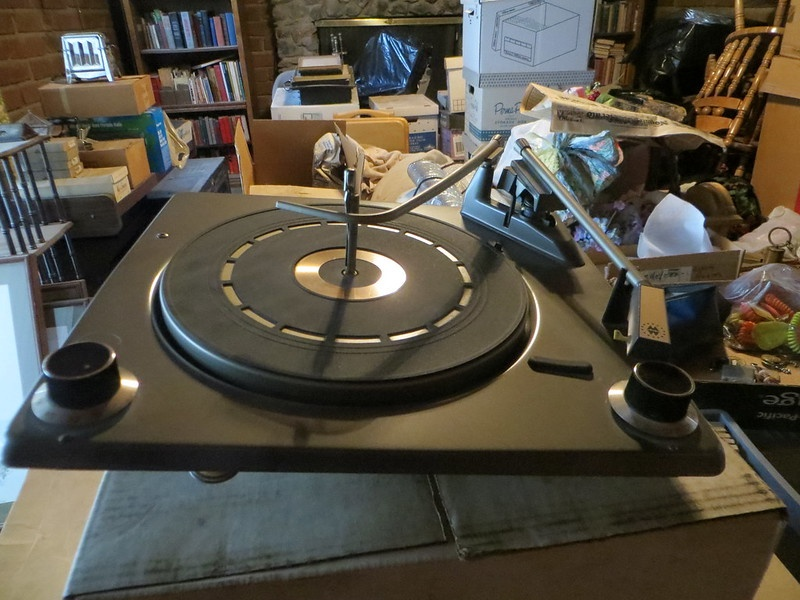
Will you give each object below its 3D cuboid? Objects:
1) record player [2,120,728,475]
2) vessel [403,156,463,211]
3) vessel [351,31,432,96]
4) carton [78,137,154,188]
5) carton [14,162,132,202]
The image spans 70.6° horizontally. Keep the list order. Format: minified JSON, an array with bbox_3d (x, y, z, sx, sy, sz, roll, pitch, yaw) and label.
[{"bbox_3d":[-0.033,-0.030,0.807,0.839,0.301,0.493,-1,28,0],"label":"record player"},{"bbox_3d":[0.076,-0.261,1.312,0.127,0.072,0.167,-13,50,-26],"label":"vessel"},{"bbox_3d":[-0.048,-1.694,4.106,0.526,0.433,0.177,9,12,9],"label":"vessel"},{"bbox_3d":[-1.120,-0.560,2.212,0.205,0.136,0.209,1,27,-4],"label":"carton"},{"bbox_3d":[-1.131,-0.400,1.939,0.184,0.063,0.184,-2,23,-3],"label":"carton"}]
